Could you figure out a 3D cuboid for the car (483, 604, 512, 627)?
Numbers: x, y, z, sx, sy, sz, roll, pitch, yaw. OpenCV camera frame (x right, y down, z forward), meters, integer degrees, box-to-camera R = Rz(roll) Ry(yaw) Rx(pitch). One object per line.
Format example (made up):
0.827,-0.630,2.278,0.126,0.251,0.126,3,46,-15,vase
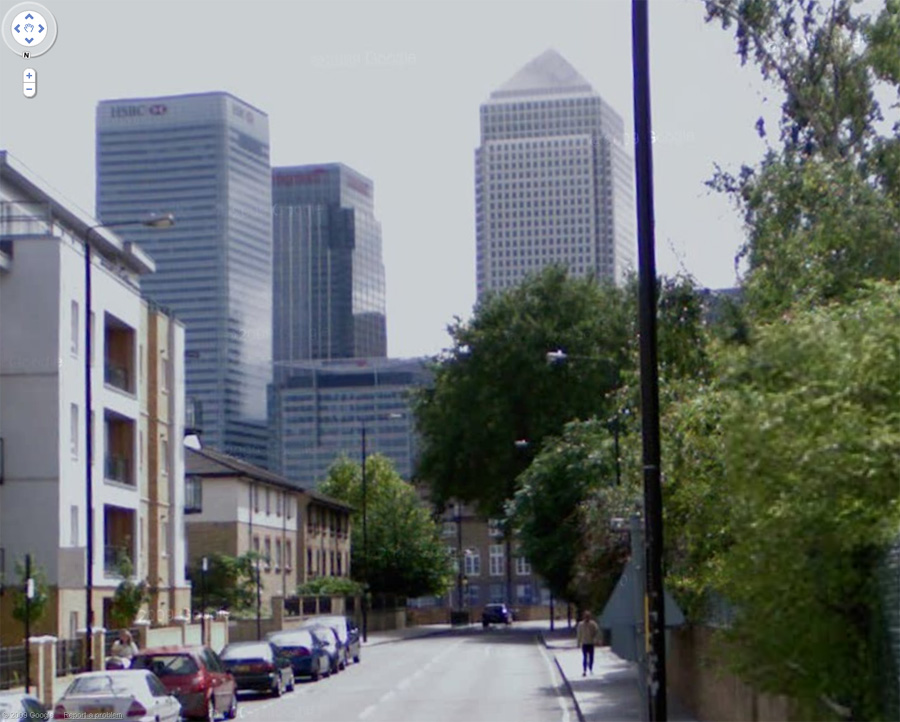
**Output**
3.093,16.109,112.203,0.941,1.140,1.876,0,-3,13,car
